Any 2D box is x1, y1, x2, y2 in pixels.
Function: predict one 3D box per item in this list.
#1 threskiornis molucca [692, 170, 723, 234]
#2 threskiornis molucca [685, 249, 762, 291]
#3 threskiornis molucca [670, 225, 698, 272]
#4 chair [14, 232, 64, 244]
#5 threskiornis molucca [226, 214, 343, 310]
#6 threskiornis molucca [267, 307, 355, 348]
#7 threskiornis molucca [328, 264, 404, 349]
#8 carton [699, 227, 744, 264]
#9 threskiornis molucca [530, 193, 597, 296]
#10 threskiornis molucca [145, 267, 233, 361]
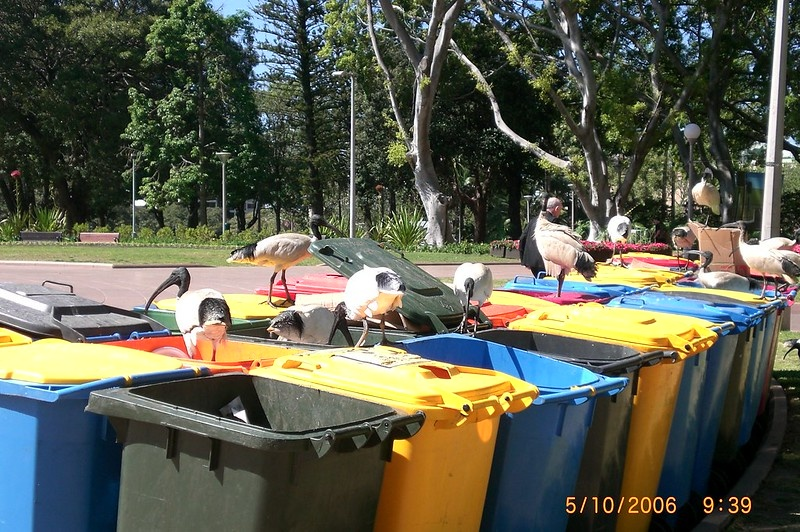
[{"bbox_3d":[5.198,-1.254,14.301,0.317,0.462,1.041,8,-7,37],"label":"threskiornis molucca"},{"bbox_3d":[4.103,0.149,10.902,0.974,0.751,0.336,0,-2,13],"label":"threskiornis molucca"},{"bbox_3d":[4.421,-0.427,13.317,0.247,0.427,0.824,-4,-1,27],"label":"threskiornis molucca"},{"bbox_3d":[-13.945,-1.161,33.236,1.297,0.467,0.486,2,-27,-23],"label":"chair"},{"bbox_3d":[-1.353,-0.084,9.769,1.337,1.110,0.414,3,4,8],"label":"threskiornis molucca"},{"bbox_3d":[-0.784,0.545,7.485,0.531,0.402,0.378,-3,-6,-9],"label":"threskiornis molucca"},{"bbox_3d":[-0.148,0.294,6.963,0.391,0.661,0.715,3,-14,-34],"label":"threskiornis molucca"},{"bbox_3d":[5.222,-0.317,14.088,0.760,0.817,0.546,1,-4,-13],"label":"carton"},{"bbox_3d":[2.125,-0.229,10.944,0.880,1.313,0.472,8,4,33],"label":"threskiornis molucca"},{"bbox_3d":[-1.723,0.386,7.153,0.347,0.863,0.995,5,-20,-45],"label":"threskiornis molucca"}]
